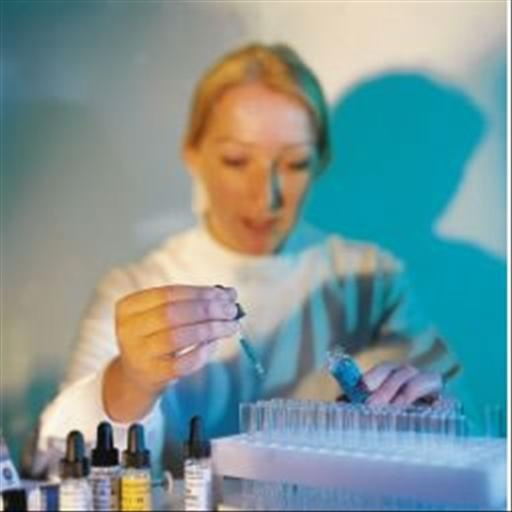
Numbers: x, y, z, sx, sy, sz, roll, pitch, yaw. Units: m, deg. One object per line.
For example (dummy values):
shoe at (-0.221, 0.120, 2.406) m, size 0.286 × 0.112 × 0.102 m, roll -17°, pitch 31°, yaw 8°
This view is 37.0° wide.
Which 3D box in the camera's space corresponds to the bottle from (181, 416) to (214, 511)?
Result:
bottle at (-0.100, 0.356, 1.301) m, size 0.039 × 0.153 × 0.037 m, roll -2°, pitch -3°, yaw 0°

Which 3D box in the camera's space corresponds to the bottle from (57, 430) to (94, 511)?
bottle at (-0.303, 0.363, 1.281) m, size 0.052 × 0.130 × 0.037 m, roll -1°, pitch -3°, yaw -16°

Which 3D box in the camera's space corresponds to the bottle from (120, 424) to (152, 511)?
bottle at (-0.216, 0.372, 1.366) m, size 0.056 × 0.149 × 0.140 m, roll -2°, pitch -4°, yaw -10°

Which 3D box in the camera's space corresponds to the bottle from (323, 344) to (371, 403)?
bottle at (0.178, 0.235, 1.490) m, size 0.075 × 0.104 × 0.121 m, roll -2°, pitch -4°, yaw 5°

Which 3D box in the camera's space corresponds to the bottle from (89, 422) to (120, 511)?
bottle at (-0.268, 0.375, 1.358) m, size 0.050 × 0.152 × 0.103 m, roll -1°, pitch -4°, yaw -11°

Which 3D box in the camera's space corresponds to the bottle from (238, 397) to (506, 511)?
bottle at (0.201, 0.334, 1.293) m, size 0.451 × 0.167 × 0.258 m, roll -2°, pitch -4°, yaw -3°
